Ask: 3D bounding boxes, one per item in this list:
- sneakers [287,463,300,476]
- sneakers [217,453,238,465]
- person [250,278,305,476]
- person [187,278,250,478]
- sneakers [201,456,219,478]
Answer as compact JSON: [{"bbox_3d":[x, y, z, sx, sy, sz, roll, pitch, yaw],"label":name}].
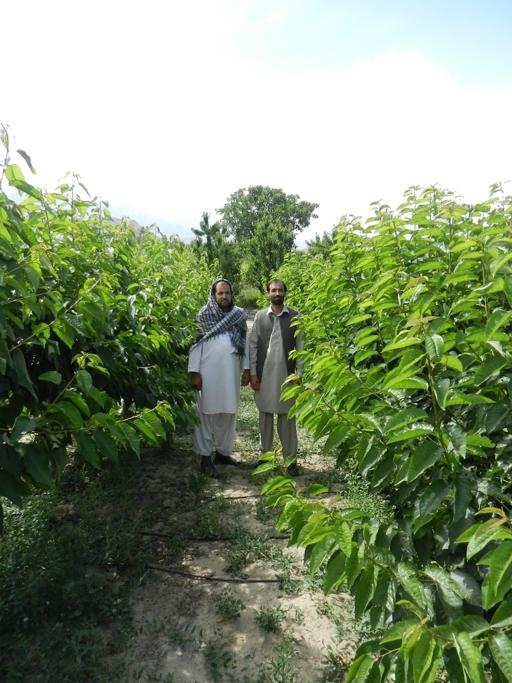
[{"bbox_3d":[0.363,1.241,4.681,0.110,0.097,0.227,0,-9,4],"label":"sneakers"},{"bbox_3d":[-0.321,1.201,4.979,0.264,0.168,0.090,-2,32,-5],"label":"sneakers"},{"bbox_3d":[0.192,0.315,4.692,0.523,1.906,0.691,0,3,0],"label":"person"},{"bbox_3d":[-0.408,0.312,4.771,0.375,1.912,0.807,2,4,33],"label":"person"},{"bbox_3d":[-0.451,1.189,4.593,0.161,0.166,0.247,-1,2,-8],"label":"sneakers"}]
